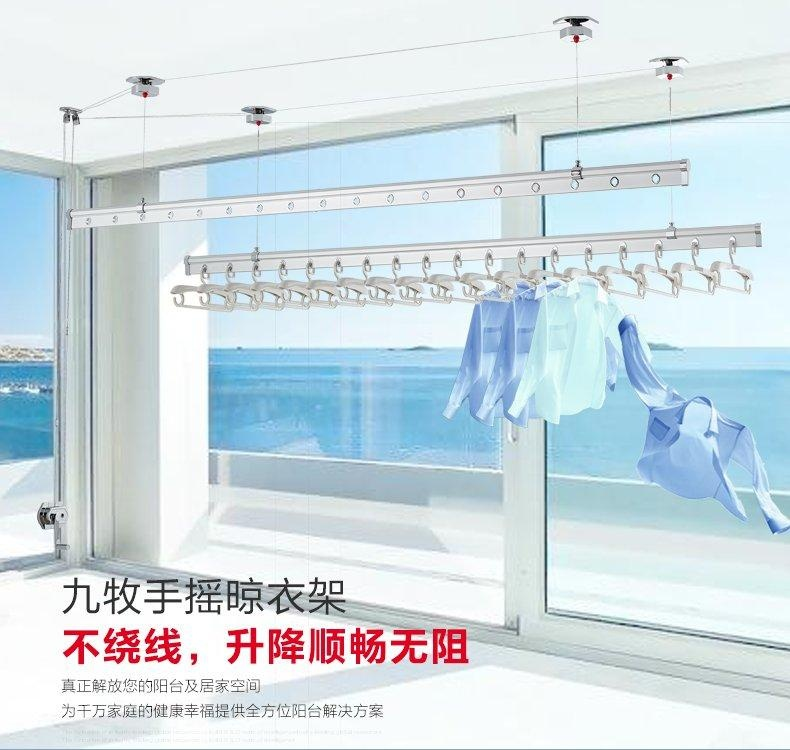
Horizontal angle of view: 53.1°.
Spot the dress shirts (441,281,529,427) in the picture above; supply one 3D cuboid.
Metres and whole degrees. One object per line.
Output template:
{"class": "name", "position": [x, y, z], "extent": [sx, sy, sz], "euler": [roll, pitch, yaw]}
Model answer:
{"class": "dress shirts", "position": [0.311, -0.068, 2.877], "extent": [0.229, 0.464, 0.362], "euler": [2, 7, 2]}

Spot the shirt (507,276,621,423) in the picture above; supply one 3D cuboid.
{"class": "shirt", "position": [0.580, -0.103, 2.740], "extent": [0.450, 0.545, 0.149], "euler": [-1, 0, -25]}
